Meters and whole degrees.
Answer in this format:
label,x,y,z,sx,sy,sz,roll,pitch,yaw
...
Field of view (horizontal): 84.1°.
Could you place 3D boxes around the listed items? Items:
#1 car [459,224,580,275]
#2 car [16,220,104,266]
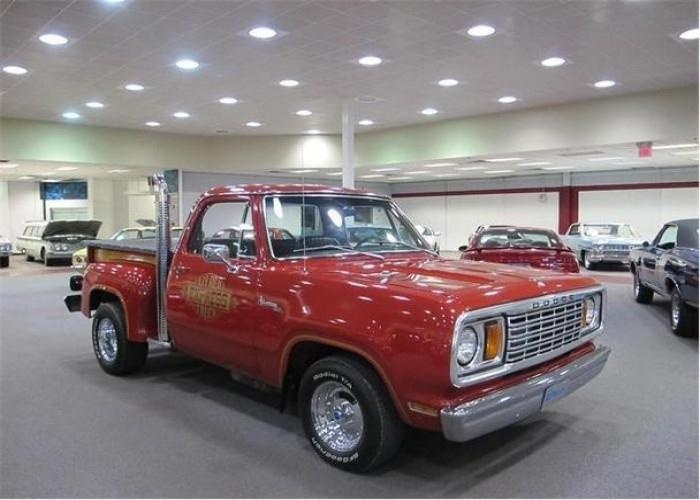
label,x,y,z,sx,sy,sz,roll,pitch,yaw
car,3.765,0.111,9.315,1.504,0.784,2.605,0,7,0
car,-13.557,-0.526,18.227,2.367,1.964,5.193,-4,4,-43
